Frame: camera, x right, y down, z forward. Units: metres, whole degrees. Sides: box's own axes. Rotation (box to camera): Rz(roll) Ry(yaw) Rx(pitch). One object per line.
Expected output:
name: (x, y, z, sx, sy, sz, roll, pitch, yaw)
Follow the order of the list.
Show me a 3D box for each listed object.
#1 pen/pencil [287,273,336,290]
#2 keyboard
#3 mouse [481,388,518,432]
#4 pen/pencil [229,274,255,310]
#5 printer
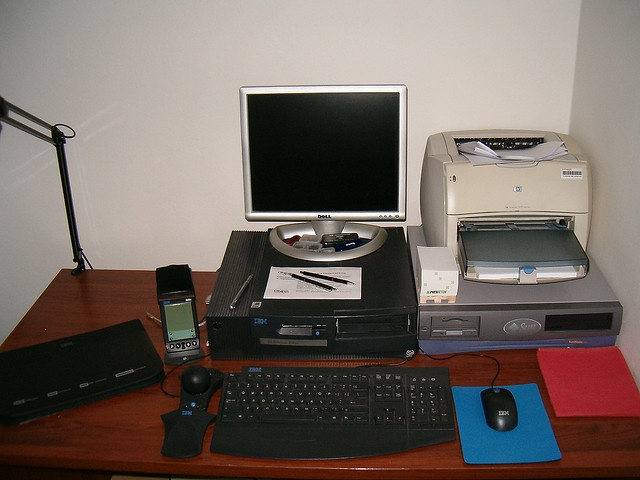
pen/pencil: (-0.025, 0.127, 1.513, 0.114, 0.013, 0.013, 17, 2, 11)
keyboard: (0.034, 0.430, 1.345, 0.617, 0.222, 0.062, 1, 5, 5)
mouse: (0.461, 0.428, 1.296, 0.079, 0.041, 0.137, -2, 33, 5)
pen/pencil: (-0.231, 0.153, 1.549, 0.021, 0.021, 0.190, -1, 27, 26)
printer: (0.563, -0.128, 1.631, 0.504, 0.462, 0.432, 2, 29, 2)
